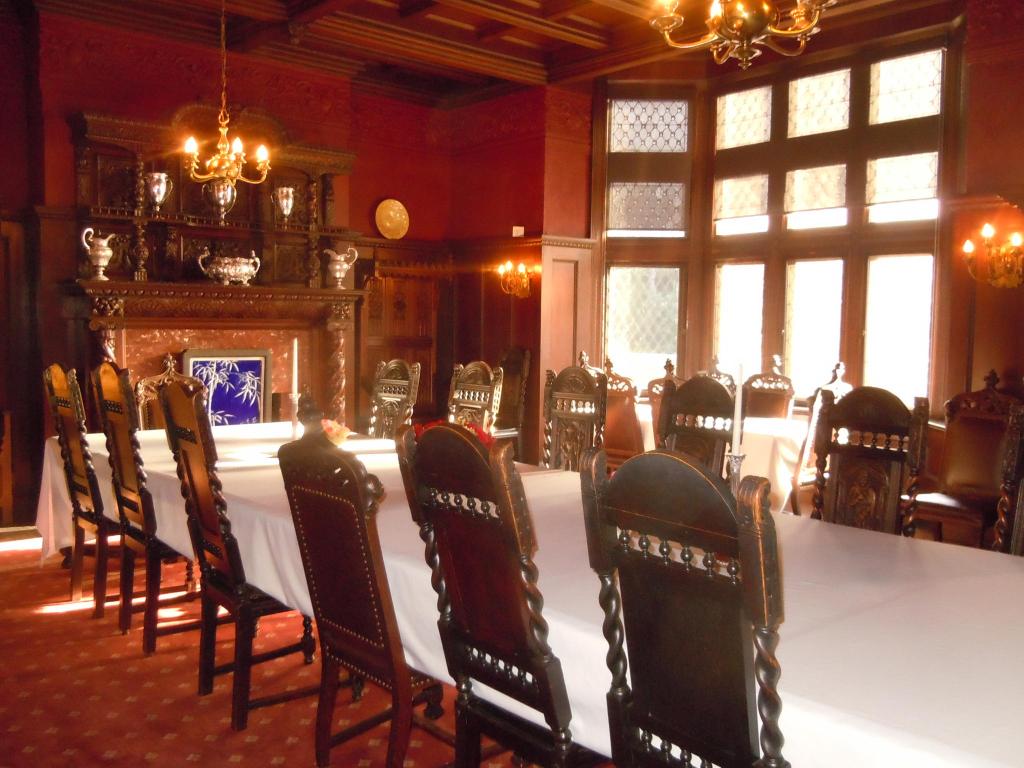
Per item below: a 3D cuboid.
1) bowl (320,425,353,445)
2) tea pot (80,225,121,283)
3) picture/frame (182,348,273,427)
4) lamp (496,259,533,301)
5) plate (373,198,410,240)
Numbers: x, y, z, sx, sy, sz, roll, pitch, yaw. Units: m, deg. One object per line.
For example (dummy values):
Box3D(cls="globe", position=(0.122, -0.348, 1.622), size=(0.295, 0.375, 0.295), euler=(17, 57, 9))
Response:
Box3D(cls="bowl", position=(-0.887, 0.253, 4.045), size=(0.120, 0.071, 0.120), euler=(5, 15, -1))
Box3D(cls="tea pot", position=(-3.218, -1.026, 6.270), size=(0.264, 0.409, 0.529), euler=(-8, 12, -28))
Box3D(cls="picture/frame", position=(-2.274, -0.004, 6.361), size=(0.064, 0.571, 0.578), euler=(-4, -7, 41))
Box3D(cls="lamp", position=(0.041, -1.065, 8.407), size=(0.327, 0.518, 0.359), euler=(0, -2, 44))
Box3D(cls="plate", position=(-1.263, -1.772, 8.599), size=(0.151, 0.434, 0.468), euler=(6, 13, 38))
